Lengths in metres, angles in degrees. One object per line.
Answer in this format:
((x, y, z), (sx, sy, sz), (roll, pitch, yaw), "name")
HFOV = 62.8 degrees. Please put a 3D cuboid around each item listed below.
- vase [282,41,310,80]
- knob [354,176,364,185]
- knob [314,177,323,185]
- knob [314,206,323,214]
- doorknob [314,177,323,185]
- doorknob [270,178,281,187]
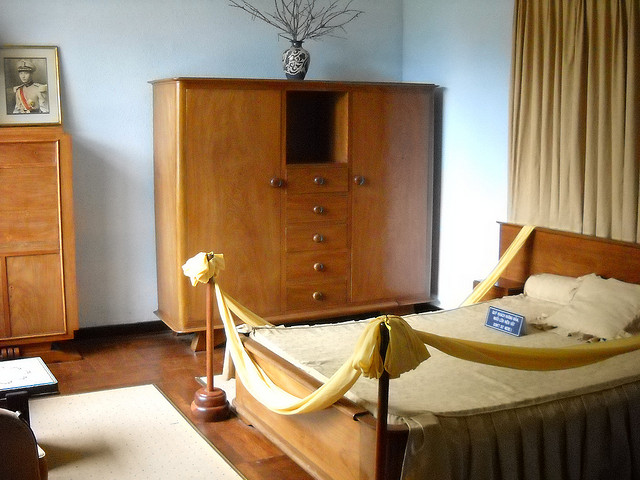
((-0.187, -1.419, 4.174), (0.207, 0.318, 0.212), (-9, 18, -38), "vase")
((0.309, -0.479, 4.193), (0.068, 0.066, 0.034), (1, 11, -2), "knob")
((-0.011, -0.463, 4.074), (0.049, 0.039, 0.051), (-5, 11, -15), "knob")
((-0.015, -0.240, 4.108), (0.049, 0.039, 0.051), (-4, 12, -11), "knob")
((-0.010, -0.463, 4.073), (0.047, 0.037, 0.048), (-8, 19, -18), "doorknob")
((-0.331, -0.435, 3.951), (0.057, 0.061, 0.043), (5, -2, -8), "doorknob")
